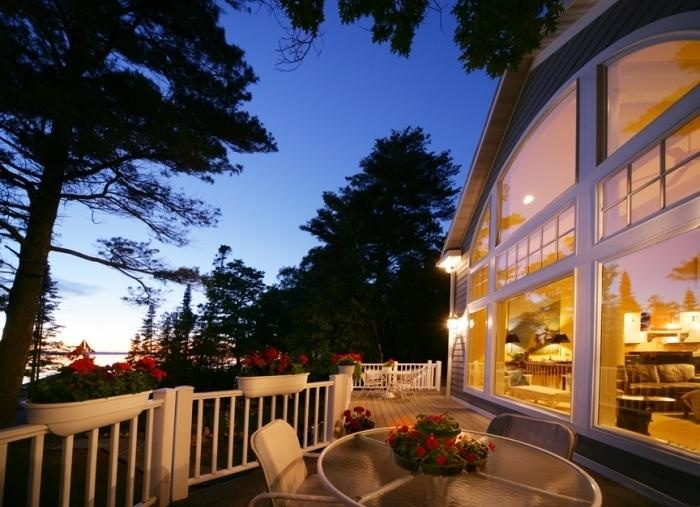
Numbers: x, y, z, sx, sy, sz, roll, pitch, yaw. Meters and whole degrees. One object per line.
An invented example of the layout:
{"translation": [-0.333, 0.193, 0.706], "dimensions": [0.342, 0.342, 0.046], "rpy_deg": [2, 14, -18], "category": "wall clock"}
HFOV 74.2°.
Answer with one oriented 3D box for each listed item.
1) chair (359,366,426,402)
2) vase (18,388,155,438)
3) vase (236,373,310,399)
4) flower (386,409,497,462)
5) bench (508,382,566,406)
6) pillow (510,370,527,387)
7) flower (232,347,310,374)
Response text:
{"translation": [1.015, 3.294, 11.815], "dimensions": [1.360, 0.847, 1.611], "rpy_deg": [0, -17, 6], "category": "chair"}
{"translation": [-2.047, 1.246, 3.642], "dimensions": [0.377, 0.169, 0.632], "rpy_deg": [-11, -14, 29], "category": "vase"}
{"translation": [-0.824, 1.433, 5.026], "dimensions": [0.336, 0.279, 0.860], "rpy_deg": [-11, -21, 35], "category": "vase"}
{"translation": [0.634, 1.365, 3.374], "dimensions": [0.472, 0.164, 0.425], "rpy_deg": [1, -7, -8], "category": "flower"}
{"translation": [2.693, 1.966, 6.445], "dimensions": [0.341, 0.129, 0.549], "rpy_deg": [0, -7, -13], "category": "bench"}
{"translation": [2.669, 1.995, 7.283], "dimensions": [0.207, 0.189, 0.063], "rpy_deg": [-23, -39, 25], "category": "pillow"}
{"translation": [-0.875, 1.239, 5.169], "dimensions": [0.659, 0.367, 0.390], "rpy_deg": [19, -21, -34], "category": "flower"}
